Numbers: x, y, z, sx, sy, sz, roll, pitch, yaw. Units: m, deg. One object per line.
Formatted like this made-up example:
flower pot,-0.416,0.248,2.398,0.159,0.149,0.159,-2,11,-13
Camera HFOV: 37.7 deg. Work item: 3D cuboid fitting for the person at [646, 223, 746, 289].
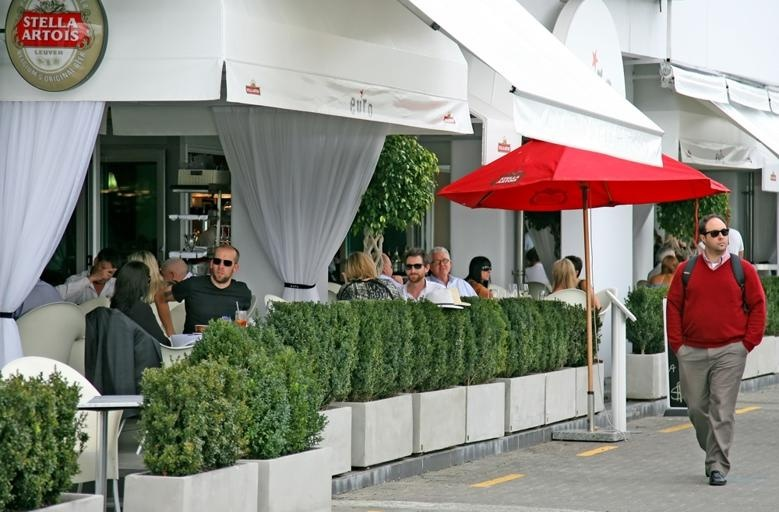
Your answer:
person,4.096,-0.003,15.471,0.842,1.026,0.328,-14,-33,10

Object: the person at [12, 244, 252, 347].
person,-2.125,0.450,12.350,2.916,1.207,1.214,-3,2,6

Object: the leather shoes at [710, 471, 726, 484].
leather shoes,3.201,2.156,11.076,0.178,0.091,0.134,11,8,1

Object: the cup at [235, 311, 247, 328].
cup,-1.362,0.580,10.553,0.131,0.186,0.145,1,0,-6

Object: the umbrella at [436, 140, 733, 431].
umbrella,2.322,0.427,14.254,2.890,3.161,2.970,-1,-6,-2
